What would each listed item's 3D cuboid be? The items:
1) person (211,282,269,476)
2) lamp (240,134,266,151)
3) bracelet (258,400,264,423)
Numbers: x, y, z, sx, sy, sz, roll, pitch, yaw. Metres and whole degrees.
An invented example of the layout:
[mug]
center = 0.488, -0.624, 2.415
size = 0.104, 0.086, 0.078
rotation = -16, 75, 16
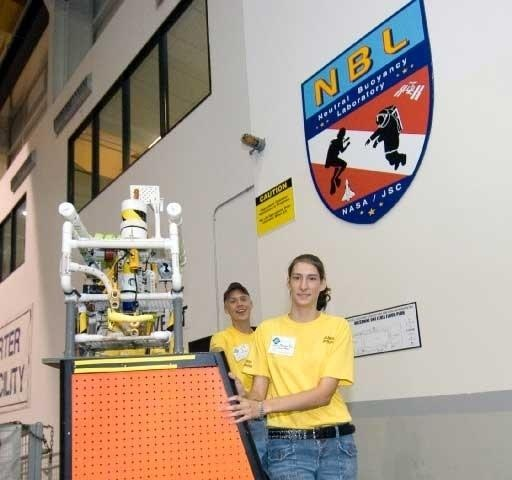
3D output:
[person]
center = -0.092, 1.120, 3.492
size = 0.448, 1.631, 0.424
rotation = -3, 4, -7
[lamp]
center = -0.049, -0.865, 4.476
size = 0.213, 0.142, 0.198
rotation = 4, -11, -36
[bracelet]
center = 0.022, 0.644, 1.870
size = 0.036, 0.076, 0.061
rotation = 1, -5, 1
